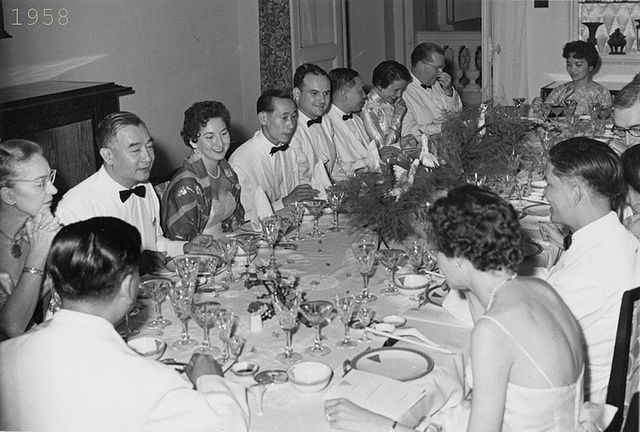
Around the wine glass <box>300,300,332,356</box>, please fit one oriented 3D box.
[{"bbox_3d":[-0.006,0.510,2.297,0.208,0.237,0.209,1,3,8],"label":"wine glass"}]

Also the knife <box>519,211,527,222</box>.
[{"bbox_3d":[1.508,0.002,3.688,0.076,0.019,0.080,-5,30,25],"label":"knife"}]

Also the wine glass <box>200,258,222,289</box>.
[{"bbox_3d":[-0.637,0.332,2.893,0.156,0.160,0.146,0,12,7],"label":"wine glass"}]

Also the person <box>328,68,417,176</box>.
[{"bbox_3d":[0.810,-1.080,5.727,0.618,1.374,1.350,3,7,42],"label":"person"}]

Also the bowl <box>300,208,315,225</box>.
[{"bbox_3d":[-0.097,0.004,3.868,0.109,0.048,0.109,-2,14,0],"label":"bowl"}]

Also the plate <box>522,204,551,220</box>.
[{"bbox_3d":[1.652,-0.034,3.776,0.190,0.038,0.186,-4,25,-5],"label":"plate"}]

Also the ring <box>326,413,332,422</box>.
[{"bbox_3d":[0.031,0.753,1.841,0.024,0.023,0.014,9,-11,-35],"label":"ring"}]

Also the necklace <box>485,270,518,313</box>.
[{"bbox_3d":[0.682,0.291,1.818,0.143,0.022,0.114,-52,8,-25],"label":"necklace"}]

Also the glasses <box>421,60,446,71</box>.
[{"bbox_3d":[1.515,-1.992,6.575,0.350,0.124,0.130,-4,4,-14],"label":"glasses"}]

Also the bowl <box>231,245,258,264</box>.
[{"bbox_3d":[-0.480,0.245,3.145,0.125,0.056,0.125,-1,13,0],"label":"bowl"}]

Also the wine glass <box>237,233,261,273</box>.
[{"bbox_3d":[-0.456,0.209,3.099,0.174,0.196,0.183,9,13,36],"label":"wine glass"}]

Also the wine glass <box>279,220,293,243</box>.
[{"bbox_3d":[-0.240,0.100,3.477,0.133,0.147,0.126,2,0,-30],"label":"wine glass"}]
